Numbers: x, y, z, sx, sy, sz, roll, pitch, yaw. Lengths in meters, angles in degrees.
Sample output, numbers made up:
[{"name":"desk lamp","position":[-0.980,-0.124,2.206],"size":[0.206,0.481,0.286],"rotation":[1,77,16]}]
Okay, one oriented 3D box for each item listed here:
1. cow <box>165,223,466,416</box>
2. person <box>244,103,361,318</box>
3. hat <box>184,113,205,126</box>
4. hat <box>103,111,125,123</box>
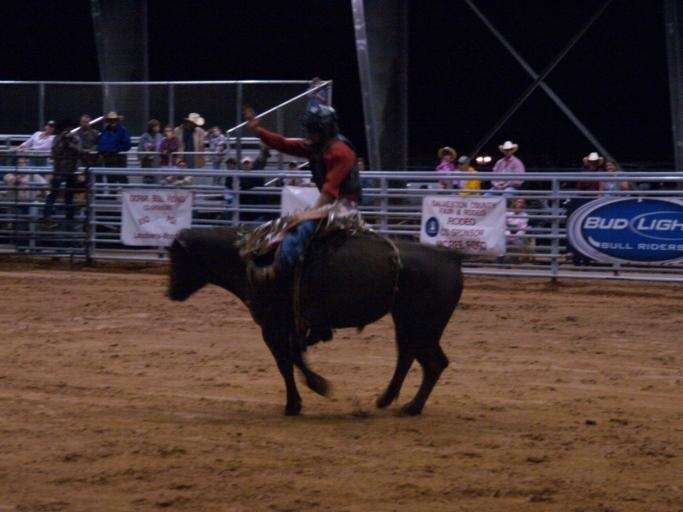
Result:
[{"name":"cow","position":[-0.273,0.759,9.722],"size":[3.420,1.268,0.902],"rotation":[1,9,5]},{"name":"person","position":[-0.342,-0.660,9.075],"size":[1.064,1.720,0.450],"rotation":[4,5,5]},{"name":"hat","position":[-2.767,-2.596,17.162],"size":[0.372,0.272,0.384],"rotation":[2,4,-9]},{"name":"hat","position":[-4.377,-2.700,17.457],"size":[0.487,0.086,0.376],"rotation":[-1,-10,-8]}]
